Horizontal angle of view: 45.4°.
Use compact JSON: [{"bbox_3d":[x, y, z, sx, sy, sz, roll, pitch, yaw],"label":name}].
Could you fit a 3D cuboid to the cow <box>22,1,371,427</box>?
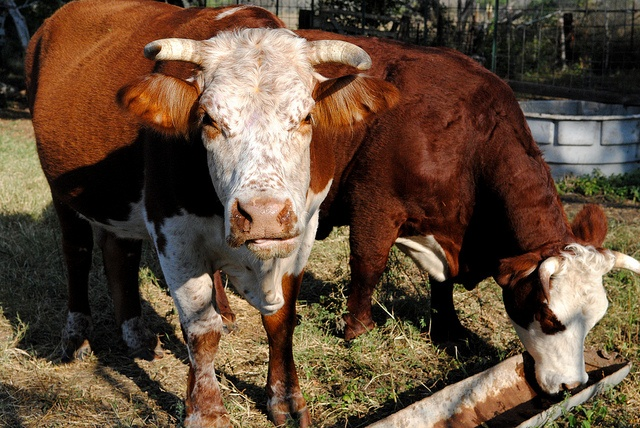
[{"bbox_3d":[-1.142,-0.039,6.747,3.034,3.650,1.413,10,15,38],"label":"cow"}]
